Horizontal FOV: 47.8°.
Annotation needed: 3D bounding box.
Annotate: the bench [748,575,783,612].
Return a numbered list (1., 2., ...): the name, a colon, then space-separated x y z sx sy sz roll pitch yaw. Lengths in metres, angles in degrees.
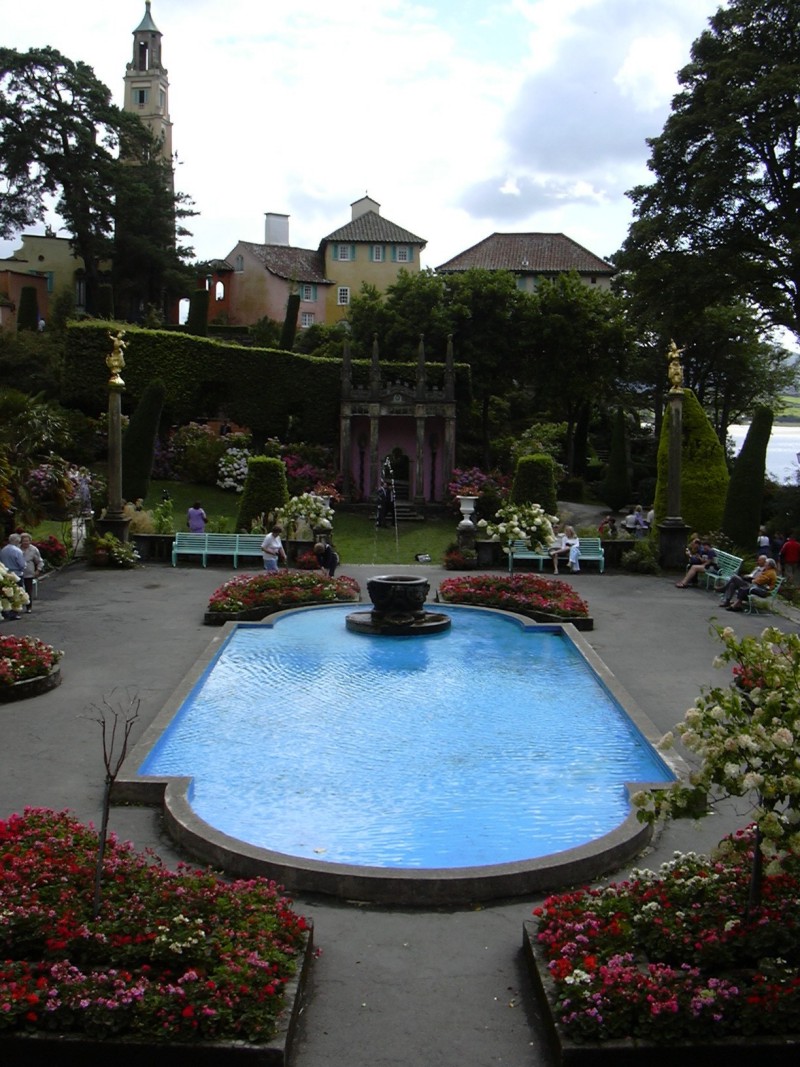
1. bench: 7.329 1.249 18.246 0.486 0.584 1.658 3 7 27

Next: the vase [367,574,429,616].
1. vase: -0.049 1.088 16.381 0.826 0.445 0.798 0 1 0

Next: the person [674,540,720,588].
1. person: 7.264 0.756 22.108 0.866 1.229 0.538 12 -24 9

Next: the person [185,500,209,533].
1. person: -5.678 -0.447 25.225 0.441 0.797 0.807 -2 6 -17

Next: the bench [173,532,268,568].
1. bench: -4.746 0.433 23.363 2.340 0.818 0.776 1 6 7

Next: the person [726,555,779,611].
1. person: 7.203 1.062 18.612 0.692 0.977 0.515 16 34 0

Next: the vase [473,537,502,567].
1. vase: 2.298 0.500 24.243 0.880 0.801 0.623 -1 2 0

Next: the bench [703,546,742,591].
1. bench: 7.307 0.855 20.672 0.376 0.614 0.939 4 9 -14

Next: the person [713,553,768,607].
1. person: 7.184 1.028 19.275 0.646 1.003 0.461 22 35 4

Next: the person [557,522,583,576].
1. person: 4.425 0.437 23.617 0.560 1.185 0.647 1 6 8
